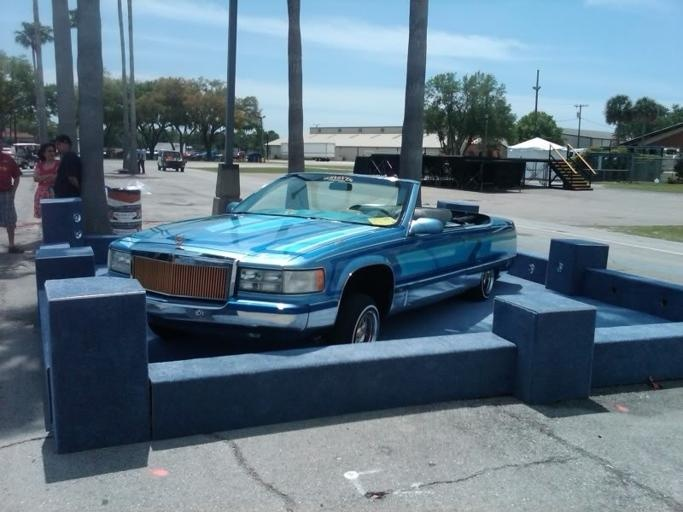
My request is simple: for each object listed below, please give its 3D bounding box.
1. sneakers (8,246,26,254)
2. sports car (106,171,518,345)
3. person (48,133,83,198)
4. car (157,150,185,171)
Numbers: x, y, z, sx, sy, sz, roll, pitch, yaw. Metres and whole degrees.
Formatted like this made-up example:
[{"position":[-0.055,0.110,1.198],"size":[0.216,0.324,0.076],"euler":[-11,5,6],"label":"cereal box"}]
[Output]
[{"position":[-6.130,-0.113,10.442],"size":[0.152,0.123,0.297],"euler":[8,15,29],"label":"sneakers"},{"position":[0.137,-0.114,6.897],"size":[2.611,1.782,5.430],"euler":[12,15,41],"label":"sports car"},{"position":[-4.710,-1.518,9.461],"size":[0.434,1.049,0.862],"euler":[-5,13,-31],"label":"person"},{"position":[-15.057,-8.309,48.616],"size":[1.642,1.477,2.895],"euler":[-2,9,-22],"label":"car"}]
